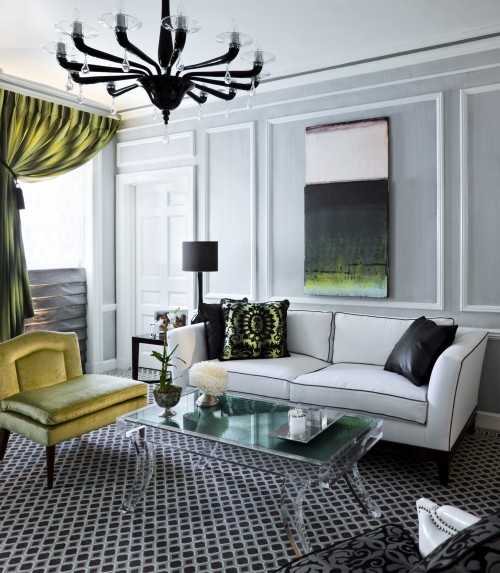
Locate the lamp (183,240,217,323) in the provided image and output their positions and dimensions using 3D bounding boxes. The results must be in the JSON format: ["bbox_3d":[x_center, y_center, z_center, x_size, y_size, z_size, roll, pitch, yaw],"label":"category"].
[{"bbox_3d":[-0.433,-0.054,3.947,0.284,0.732,0.696,0,3,-7],"label":"lamp"}]

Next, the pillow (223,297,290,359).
[{"bbox_3d":[0.047,0.337,3.481,0.411,0.375,0.136,2,-29,-4],"label":"pillow"}]

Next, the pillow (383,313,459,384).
[{"bbox_3d":[1.027,0.360,2.745,0.111,0.365,0.368,32,-10,-6],"label":"pillow"}]
